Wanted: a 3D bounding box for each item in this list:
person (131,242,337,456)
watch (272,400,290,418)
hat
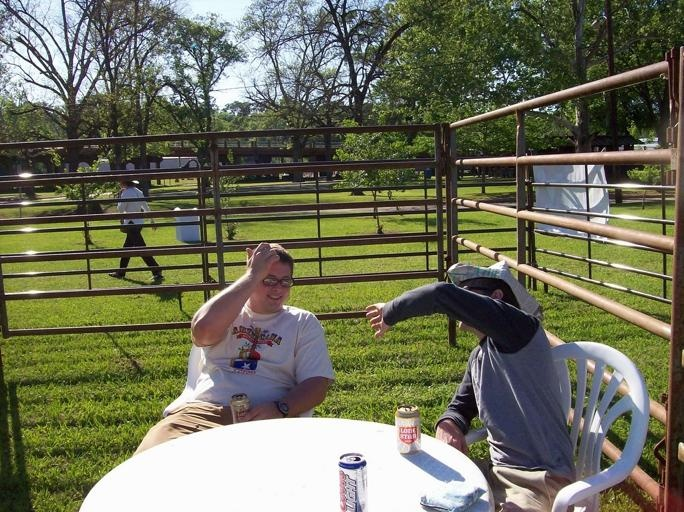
[{"bbox_3d":[-0.932,0.737,5.119,1.141,1.034,1.877,-4,41,6],"label":"person"},{"bbox_3d":[-0.382,0.959,3.955,0.062,0.102,0.100,-22,-5,-34],"label":"watch"},{"bbox_3d":[0.847,0.137,3.531,0.318,0.252,0.434,19,13,-32],"label":"hat"}]
